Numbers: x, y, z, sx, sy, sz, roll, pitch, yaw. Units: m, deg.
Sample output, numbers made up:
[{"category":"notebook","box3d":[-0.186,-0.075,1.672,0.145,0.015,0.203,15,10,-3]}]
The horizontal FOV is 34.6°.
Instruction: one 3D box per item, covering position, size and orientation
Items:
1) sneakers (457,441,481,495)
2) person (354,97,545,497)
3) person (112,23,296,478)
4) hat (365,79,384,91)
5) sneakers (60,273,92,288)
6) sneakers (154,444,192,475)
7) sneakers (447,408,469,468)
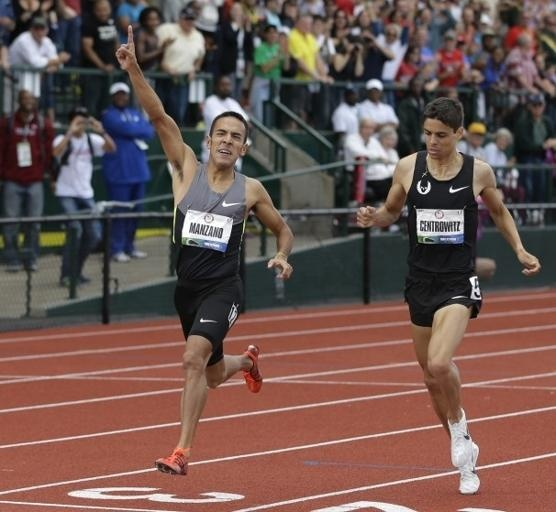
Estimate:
[{"category":"sneakers","box3d":[1.027,1.161,4.887,0.081,0.211,0.282,-3,21,15]},{"category":"person","box3d":[0.877,0.161,5.259,0.827,2.189,0.935,1,3,15]},{"category":"person","box3d":[-0.294,0.028,5.162,0.977,2.169,0.966,0,3,-16]},{"category":"hat","box3d":[1.558,-2.806,14.580,0.268,0.229,0.364,1,3,4]},{"category":"sneakers","box3d":[-2.370,0.287,10.386,0.253,0.125,0.083,-1,-4,-12]},{"category":"sneakers","box3d":[-0.570,1.063,4.658,0.233,0.137,0.092,5,-35,48]},{"category":"sneakers","box3d":[1.008,1.025,5.001,0.091,0.305,0.119,-21,-41,40]}]
